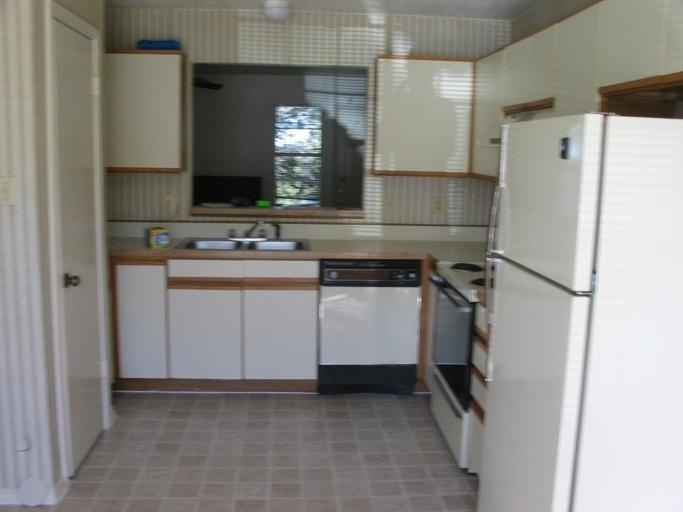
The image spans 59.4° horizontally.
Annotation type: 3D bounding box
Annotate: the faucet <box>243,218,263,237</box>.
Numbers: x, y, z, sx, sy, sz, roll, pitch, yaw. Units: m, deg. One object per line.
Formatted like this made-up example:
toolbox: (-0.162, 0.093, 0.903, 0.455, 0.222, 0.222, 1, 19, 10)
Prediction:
faucet: (-0.635, -0.191, 4.282, 0.137, 0.115, 0.233, -2, 9, -7)

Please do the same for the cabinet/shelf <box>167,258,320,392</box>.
cabinet/shelf: (-0.642, 0.405, 3.883, 0.940, 0.697, 0.310, 0, 4, -1)

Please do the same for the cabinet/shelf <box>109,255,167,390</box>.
cabinet/shelf: (-1.298, 0.419, 3.868, 0.326, 0.748, 0.077, 1, 10, 7)

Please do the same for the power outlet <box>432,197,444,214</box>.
power outlet: (0.720, -0.383, 4.499, 0.114, 0.152, 0.108, 0, 9, 4)

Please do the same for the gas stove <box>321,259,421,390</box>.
gas stove: (0.133, 0.421, 4.193, 0.881, 0.851, 0.840, 3, 5, 19)
